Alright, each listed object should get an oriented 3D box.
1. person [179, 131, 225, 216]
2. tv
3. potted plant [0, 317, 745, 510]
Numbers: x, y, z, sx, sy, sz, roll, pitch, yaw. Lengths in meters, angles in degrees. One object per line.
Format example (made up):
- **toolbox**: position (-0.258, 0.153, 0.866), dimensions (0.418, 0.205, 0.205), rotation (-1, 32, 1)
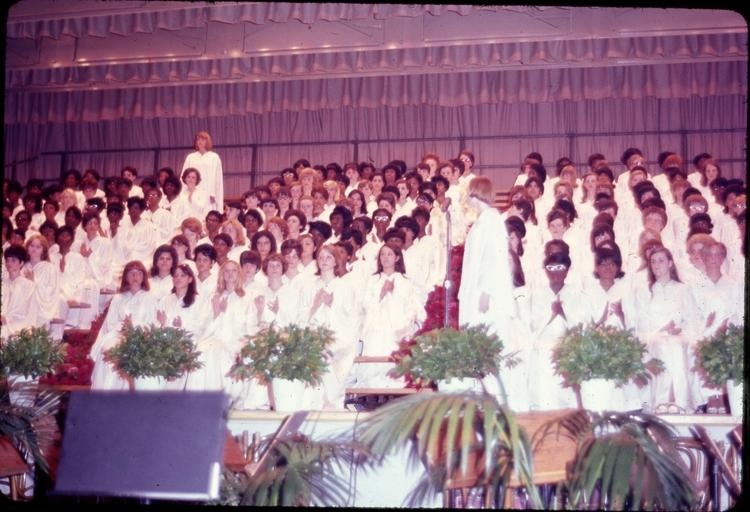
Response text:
- **person**: position (-2.207, -0.991, 11.823), dimensions (0.575, 1.093, 0.298), rotation (5, 15, 11)
- **tv**: position (-1.819, 1.481, 7.157), dimensions (1.305, 0.804, 0.201), rotation (-1, -13, 1)
- **potted plant**: position (-0.100, 1.532, 7.207), dimensions (3.898, 1.667, 0.890), rotation (1, -10, 15)
